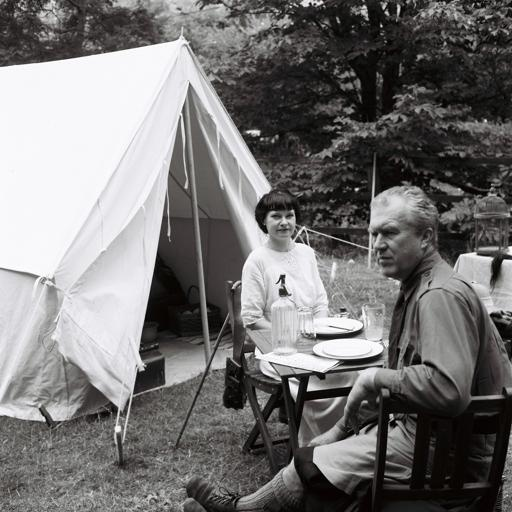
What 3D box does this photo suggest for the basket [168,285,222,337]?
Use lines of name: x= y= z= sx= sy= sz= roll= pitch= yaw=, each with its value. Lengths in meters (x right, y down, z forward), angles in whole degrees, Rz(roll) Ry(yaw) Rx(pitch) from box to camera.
basket: x=-0.566 y=0.560 z=5.562 sx=0.386 sy=0.458 sz=0.289 roll=-2 pitch=3 yaw=-20

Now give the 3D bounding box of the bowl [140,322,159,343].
bowl: x=-0.815 y=0.586 z=4.485 sx=0.116 sy=0.095 sz=0.128 roll=0 pitch=-3 yaw=-1

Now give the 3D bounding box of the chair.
chair: x=0.356 y=0.416 z=1.975 sx=0.794 sy=0.756 sz=0.564 roll=0 pitch=-5 yaw=9
